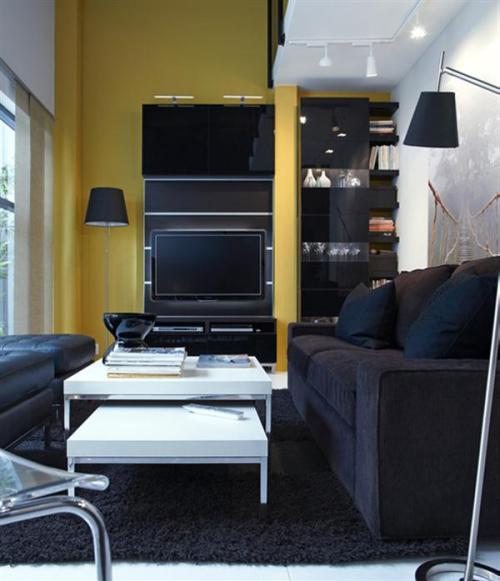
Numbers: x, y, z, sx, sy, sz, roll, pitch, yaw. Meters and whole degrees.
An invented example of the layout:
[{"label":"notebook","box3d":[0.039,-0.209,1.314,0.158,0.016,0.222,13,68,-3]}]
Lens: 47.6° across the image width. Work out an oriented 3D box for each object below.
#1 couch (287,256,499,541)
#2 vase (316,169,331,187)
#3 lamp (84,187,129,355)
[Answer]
[{"label":"couch","box3d":[0.692,0.313,2.778,0.809,0.925,2.109,0,2,-4]},{"label":"vase","box3d":[0.675,-1.004,5.195,0.120,0.278,0.169,-1,1,9]},{"label":"lamp","box3d":[-1.311,-0.224,5.179,0.367,1.510,0.563,0,2,-13]}]
